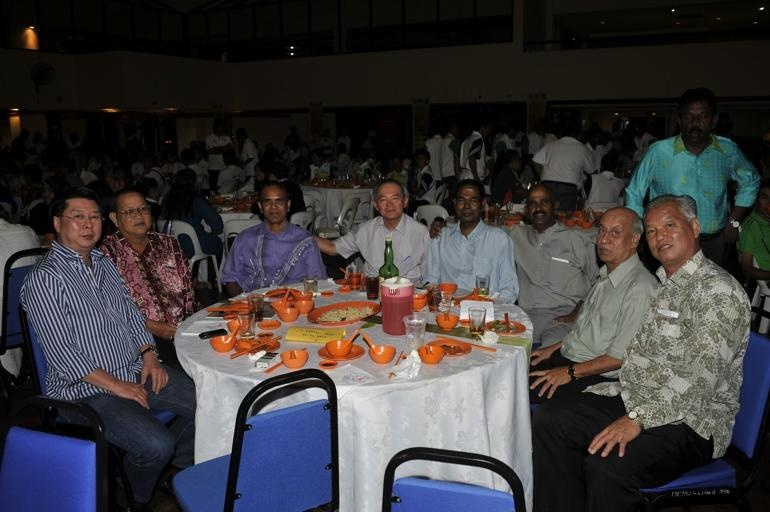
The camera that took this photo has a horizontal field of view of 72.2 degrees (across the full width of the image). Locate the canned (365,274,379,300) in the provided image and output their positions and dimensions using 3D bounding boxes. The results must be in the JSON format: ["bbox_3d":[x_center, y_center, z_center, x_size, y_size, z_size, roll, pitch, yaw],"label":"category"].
[{"bbox_3d":[-0.080,0.203,3.286,0.107,0.163,0.101,2,21,5],"label":"canned"}]

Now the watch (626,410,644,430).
[{"bbox_3d":[1.171,0.783,2.493,0.060,0.090,0.092,1,36,4],"label":"watch"}]

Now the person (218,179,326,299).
[{"bbox_3d":[-0.823,-0.102,3.945,0.855,0.839,0.470,1,14,0],"label":"person"}]

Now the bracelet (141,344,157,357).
[{"bbox_3d":[-1.372,0.551,3.087,0.066,0.048,0.072,-7,0,21],"label":"bracelet"}]

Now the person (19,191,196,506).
[{"bbox_3d":[-1.433,0.498,2.865,0.842,1.698,0.620,7,14,36],"label":"person"}]
